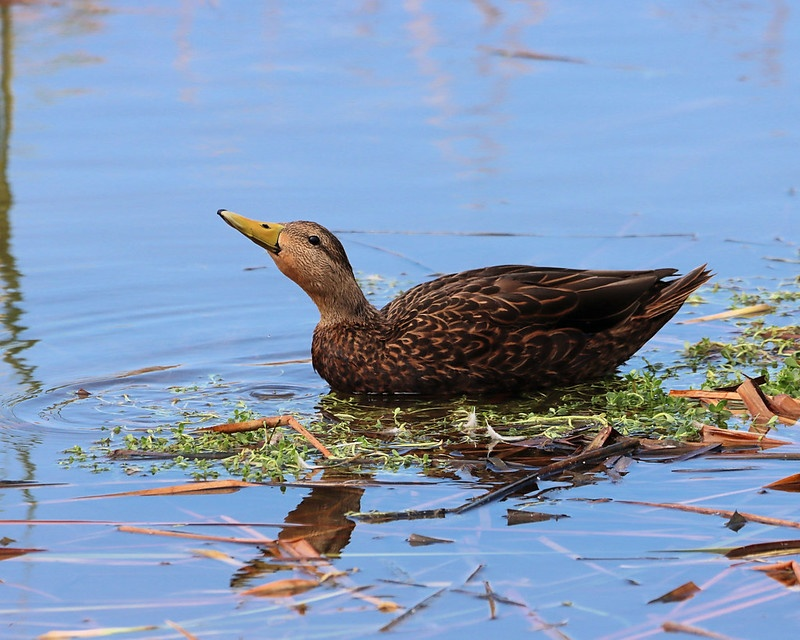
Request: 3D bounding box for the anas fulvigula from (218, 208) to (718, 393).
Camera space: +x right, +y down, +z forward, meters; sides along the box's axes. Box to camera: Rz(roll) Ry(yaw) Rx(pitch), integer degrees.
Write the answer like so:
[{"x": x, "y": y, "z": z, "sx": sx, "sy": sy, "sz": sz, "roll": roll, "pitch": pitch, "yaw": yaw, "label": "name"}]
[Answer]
[{"x": 0.494, "y": -0.067, "z": 6.645, "sx": 3.005, "sy": 1.233, "sz": 0.744, "roll": 3, "pitch": 14, "yaw": 8, "label": "anas fulvigula"}]
